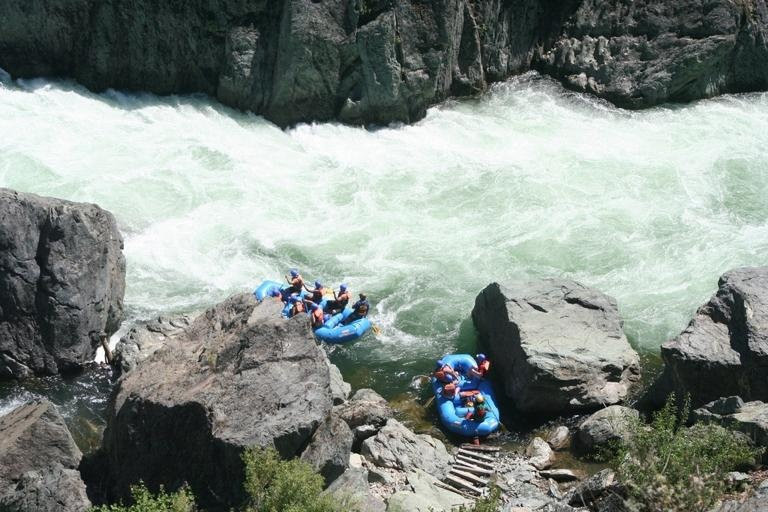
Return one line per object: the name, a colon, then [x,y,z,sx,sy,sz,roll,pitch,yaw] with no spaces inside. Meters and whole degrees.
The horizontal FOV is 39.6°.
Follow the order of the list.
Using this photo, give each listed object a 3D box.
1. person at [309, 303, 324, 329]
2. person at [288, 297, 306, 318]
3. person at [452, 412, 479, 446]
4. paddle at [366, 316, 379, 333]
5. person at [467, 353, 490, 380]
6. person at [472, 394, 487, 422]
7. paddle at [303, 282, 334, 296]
person: [-3.685,3.342,58.887,0.857,1.135,1.162,-3,3,-31]
person: [-4.776,2.799,58.896,0.823,0.723,1.526,-1,14,-4]
person: [4.262,8.715,54.396,1.491,1.353,0.540,33,-12,4]
paddle: [-0.604,3.884,59.237,0.519,0.159,0.912,0,49,-41]
person: [5.014,5.999,56.016,1.228,1.438,2.162,5,-19,0]
person: [4.916,7.794,54.587,0.807,1.224,0.616,1,-6,21]
paddle: [-3.646,1.960,60.478,1.204,0.469,0.882,24,3,25]
